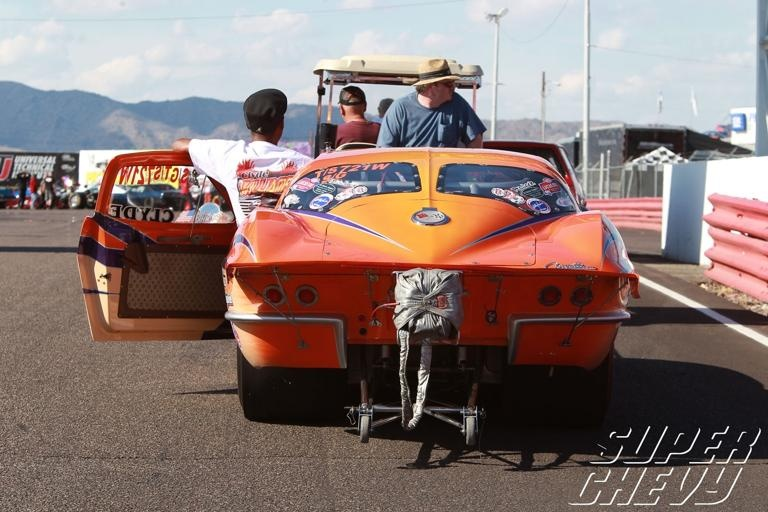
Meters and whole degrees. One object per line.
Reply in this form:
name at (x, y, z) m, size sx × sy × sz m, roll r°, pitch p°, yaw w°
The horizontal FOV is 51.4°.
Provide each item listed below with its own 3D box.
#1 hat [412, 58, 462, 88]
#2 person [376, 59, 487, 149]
hat at (0.466, -1.730, 7.557) m, size 0.352 × 0.283 × 0.476 m, roll 1°, pitch 9°, yaw 2°
person at (0.428, -1.228, 7.682) m, size 1.029 × 1.265 × 0.655 m, roll -5°, pitch 21°, yaw -4°
